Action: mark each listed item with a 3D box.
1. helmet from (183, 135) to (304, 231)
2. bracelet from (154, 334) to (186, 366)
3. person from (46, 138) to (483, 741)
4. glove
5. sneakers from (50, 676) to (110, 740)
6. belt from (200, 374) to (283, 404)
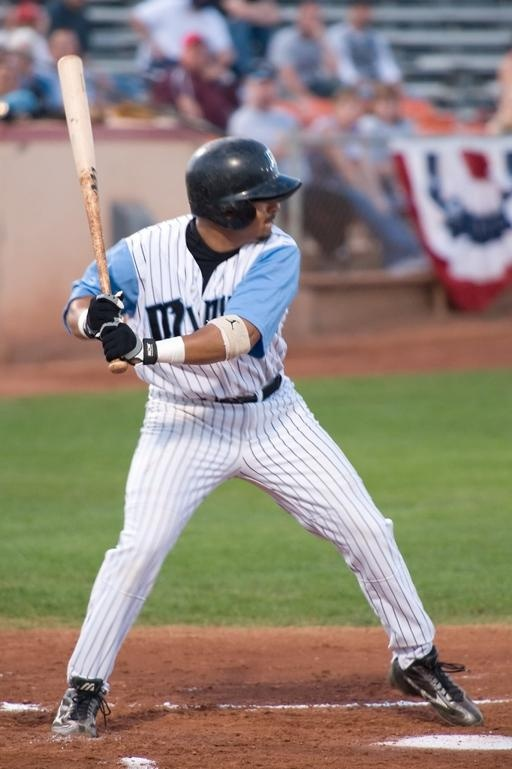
[{"bbox_3d":[-0.058,-0.502,2.442,0.321,0.197,0.213,2,10,16],"label":"helmet"},{"bbox_3d":[-0.189,-0.073,2.199,0.072,0.046,0.050,1,2,-14],"label":"bracelet"},{"bbox_3d":[-0.061,0.144,2.508,1.071,1.527,0.529,-6,14,-10],"label":"person"},{"bbox_3d":[-0.305,-0.117,2.264,0.196,0.155,0.065,-3,-16,-4],"label":"glove"},{"bbox_3d":[-0.432,0.805,2.445,0.082,0.099,0.232,31,3,-12],"label":"sneakers"},{"bbox_3d":[-0.025,0.020,2.577,0.125,0.024,0.104,4,-33,-28],"label":"belt"}]
